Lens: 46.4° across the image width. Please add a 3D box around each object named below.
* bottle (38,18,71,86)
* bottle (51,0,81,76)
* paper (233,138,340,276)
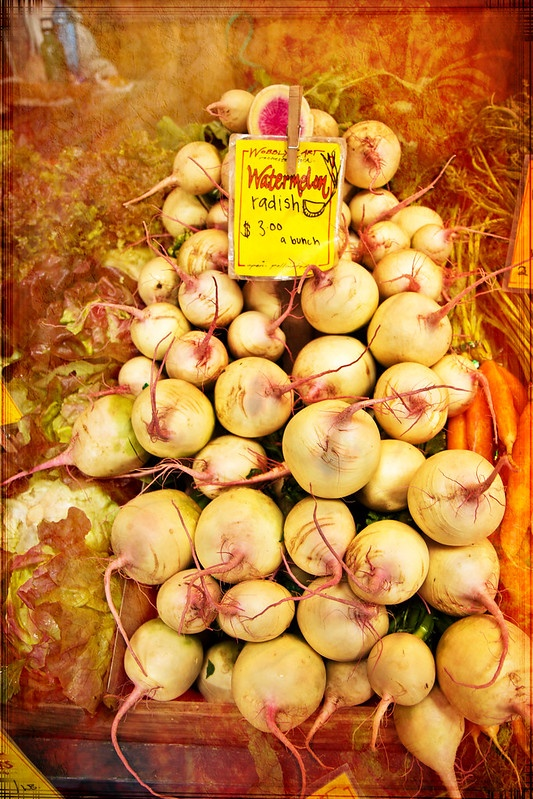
[{"bbox_3d":[-0.663,-1.068,1.934,0.052,0.198,0.058,-2,24,9],"label":"bottle"},{"bbox_3d":[-0.609,-1.112,1.917,0.064,0.182,0.094,-23,42,-23],"label":"bottle"},{"bbox_3d":[0.050,-0.491,1.536,0.328,0.426,0.040,0,13,-7],"label":"paper"}]
